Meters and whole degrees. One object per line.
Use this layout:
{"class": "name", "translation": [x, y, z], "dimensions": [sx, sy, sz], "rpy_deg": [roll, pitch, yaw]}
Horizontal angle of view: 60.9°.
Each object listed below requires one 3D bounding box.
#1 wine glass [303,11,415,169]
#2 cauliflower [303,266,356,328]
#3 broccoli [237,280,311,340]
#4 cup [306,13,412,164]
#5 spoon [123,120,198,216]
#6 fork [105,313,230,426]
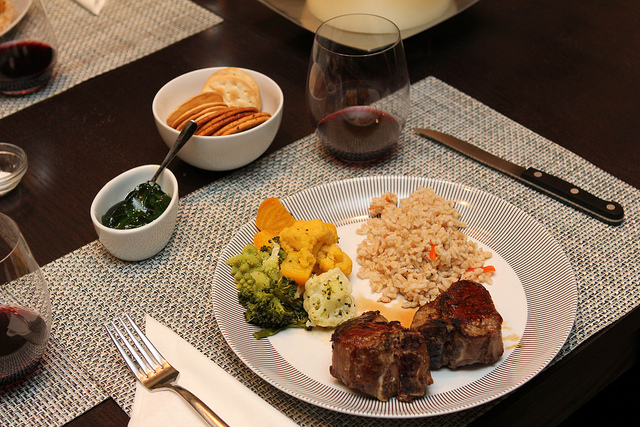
{"class": "wine glass", "translation": [0.134, -0.379, 1.661], "dimensions": [0.325, 0.453, 0.326], "rpy_deg": [-28, 35, -29]}
{"class": "cauliflower", "translation": [0.019, 0.204, 1.284], "dimensions": [0.116, 0.054, 0.128], "rpy_deg": [-17, 66, -7]}
{"class": "broccoli", "translation": [-0.105, 0.209, 1.224], "dimensions": [0.127, 0.105, 0.137], "rpy_deg": [17, 41, 8]}
{"class": "cup", "translation": [0.110, -0.346, 1.563], "dimensions": [0.252, 0.331, 0.250], "rpy_deg": [-3, 40, 2]}
{"class": "spoon", "translation": [-0.410, -0.142, 1.555], "dimensions": [0.108, 0.043, 0.368], "rpy_deg": [33, 73, 9]}
{"class": "fork", "translation": [-0.341, 0.361, 1.213], "dimensions": [0.042, 0.042, 0.288], "rpy_deg": [-34, 64, -24]}
